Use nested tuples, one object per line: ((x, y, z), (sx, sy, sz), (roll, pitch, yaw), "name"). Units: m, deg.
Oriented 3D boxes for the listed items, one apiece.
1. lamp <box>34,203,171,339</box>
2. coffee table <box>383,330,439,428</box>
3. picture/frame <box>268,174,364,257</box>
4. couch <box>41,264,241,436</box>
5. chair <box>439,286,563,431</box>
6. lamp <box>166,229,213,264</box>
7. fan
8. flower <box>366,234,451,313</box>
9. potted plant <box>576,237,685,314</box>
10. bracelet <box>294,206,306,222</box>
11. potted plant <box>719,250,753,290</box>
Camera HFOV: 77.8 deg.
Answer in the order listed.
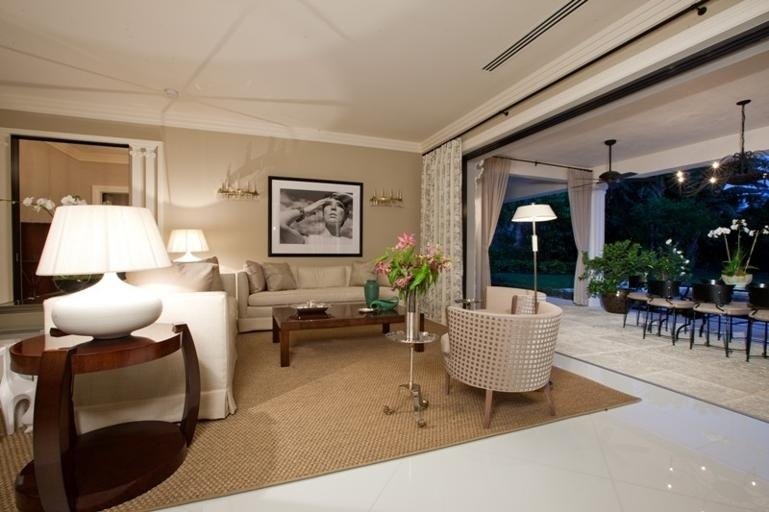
((-2.415, 0.134, 4.275), (1.079, 1.180, 1.046), (0, 0, -5), "lamp")
((0.281, 1.182, 4.704), (0.560, 0.797, 0.520), (0, 4, -41), "coffee table")
((-1.218, -0.670, 7.934), (1.447, 1.059, 0.032), (1, -2, -23), "picture/frame")
((-2.536, 1.295, 4.788), (1.405, 0.906, 1.426), (-25, -29, 2), "couch")
((1.180, 0.985, 4.871), (1.106, 1.202, 1.024), (1, 2, 16), "chair")
((-2.964, -0.115, 7.112), (0.540, 0.534, 0.514), (2, 5, -1), "lamp")
((3.832, -1.568, 8.035), (1.126, 0.748, 1.000), (-3, 1, -11), "fan")
((0.276, 0.134, 4.697), (0.702, 0.692, 0.331), (1, 2, 7), "flower")
((4.552, 0.293, 8.860), (1.752, 1.512, 1.442), (2, -10, -15), "potted plant")
((-1.375, -0.687, 7.890), (0.147, 0.224, 0.026), (0, 3, -10), "bracelet")
((5.092, 0.214, 6.904), (0.333, 0.506, 0.726), (2, 2, 35), "potted plant")
